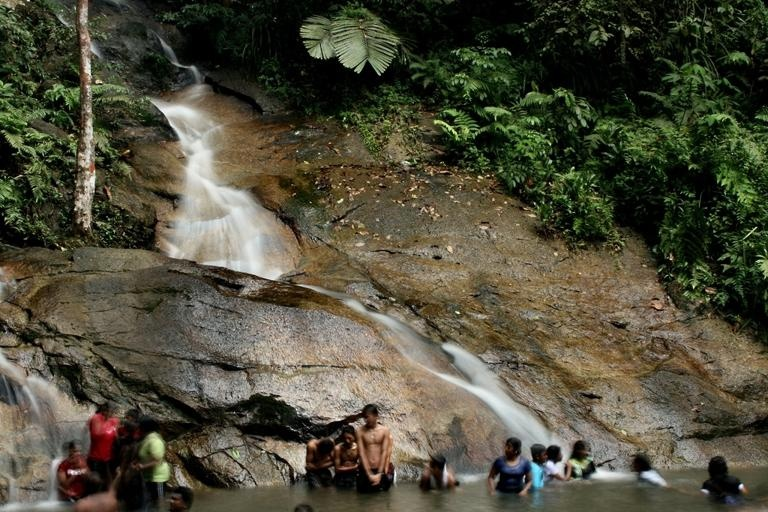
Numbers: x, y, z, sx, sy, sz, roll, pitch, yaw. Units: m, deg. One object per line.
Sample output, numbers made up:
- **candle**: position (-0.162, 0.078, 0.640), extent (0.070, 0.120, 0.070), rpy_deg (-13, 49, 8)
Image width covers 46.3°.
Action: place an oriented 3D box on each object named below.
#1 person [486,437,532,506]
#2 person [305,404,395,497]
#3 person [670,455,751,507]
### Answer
- **person**: position (2.192, 3.593, 15.430), extent (0.744, 0.931, 0.359), rpy_deg (2, -5, 8)
- **person**: position (-0.623, 3.414, 15.493), extent (1.827, 1.593, 0.553), rpy_deg (-1, -16, 1)
- **person**: position (5.684, 3.834, 15.039), extent (0.975, 0.326, 0.906), rpy_deg (4, 8, 31)
